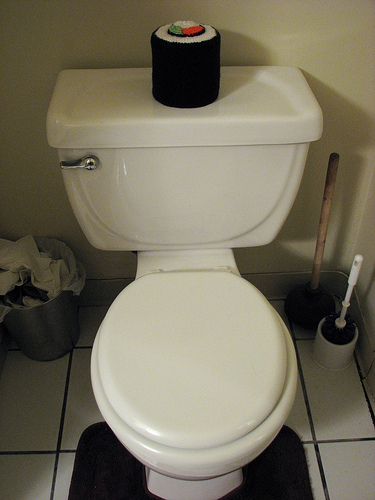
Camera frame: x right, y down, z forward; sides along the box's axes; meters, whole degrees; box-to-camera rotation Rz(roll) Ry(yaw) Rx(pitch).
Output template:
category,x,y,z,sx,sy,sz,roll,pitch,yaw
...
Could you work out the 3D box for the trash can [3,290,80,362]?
category,x,y,z,sx,sy,sz,roll,pitch,yaw
trash can,-0.382,0.199,1.174,0.140,0.150,0.134,-17,55,-3
